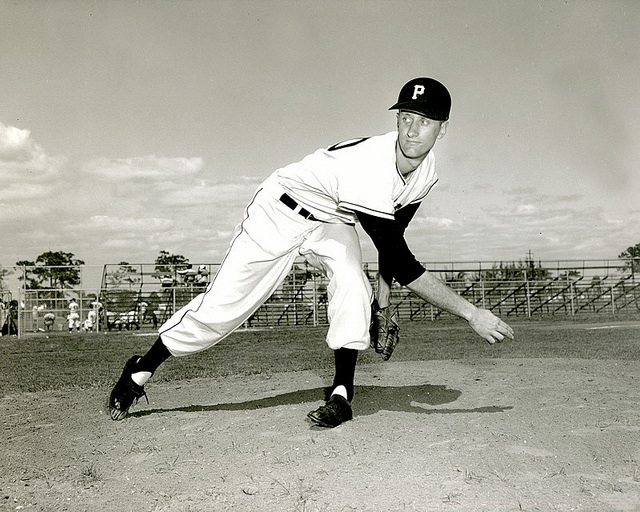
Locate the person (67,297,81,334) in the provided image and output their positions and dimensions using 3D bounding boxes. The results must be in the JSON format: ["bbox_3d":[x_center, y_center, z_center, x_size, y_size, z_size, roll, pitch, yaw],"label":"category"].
[{"bbox_3d":[-7.182,1.710,18.762,0.376,0.972,0.728,2,-4,-21],"label":"person"}]

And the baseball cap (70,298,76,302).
[{"bbox_3d":[-7.112,1.257,18.464,0.172,0.109,0.064,4,-5,-36],"label":"baseball cap"}]

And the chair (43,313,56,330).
[{"bbox_3d":[-7.819,1.868,18.568,0.333,0.454,0.195,3,-5,-33],"label":"chair"}]

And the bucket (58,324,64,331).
[{"bbox_3d":[-7.645,2.090,18.939,0.196,0.218,0.156,-1,-15,-1],"label":"bucket"}]

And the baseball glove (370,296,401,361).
[{"bbox_3d":[0.479,0.549,4.814,0.164,0.513,0.231,-5,-11,34],"label":"baseball glove"}]

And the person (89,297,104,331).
[{"bbox_3d":[-6.540,1.690,18.752,0.389,0.970,1.404,2,-4,-19],"label":"person"}]
